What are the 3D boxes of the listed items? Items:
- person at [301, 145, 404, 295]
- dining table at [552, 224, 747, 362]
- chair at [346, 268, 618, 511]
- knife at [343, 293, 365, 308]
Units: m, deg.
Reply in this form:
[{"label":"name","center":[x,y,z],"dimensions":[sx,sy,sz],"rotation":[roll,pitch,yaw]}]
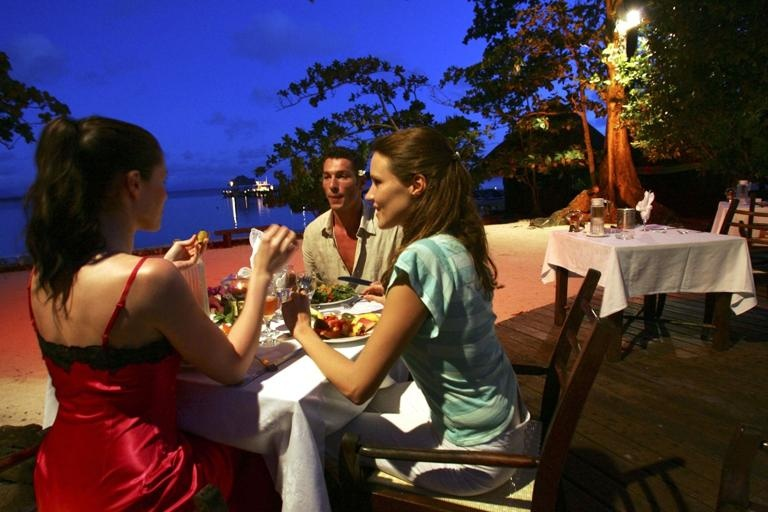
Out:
[{"label":"person","center":[-0.297,-0.246,3.964],"dimensions":[0.951,1.382,0.838],"rotation":[0,2,10]},{"label":"dining table","center":[2.478,-0.023,4.508],"dimensions":[1.639,1.054,1.637],"rotation":[-6,15,-17]},{"label":"chair","center":[0.496,0.532,2.512],"dimensions":[1.085,1.740,1.024],"rotation":[6,24,15]},{"label":"knife","center":[-0.190,0.275,2.772],"dimensions":[0.039,0.036,0.149],"rotation":[-8,12,20]}]
